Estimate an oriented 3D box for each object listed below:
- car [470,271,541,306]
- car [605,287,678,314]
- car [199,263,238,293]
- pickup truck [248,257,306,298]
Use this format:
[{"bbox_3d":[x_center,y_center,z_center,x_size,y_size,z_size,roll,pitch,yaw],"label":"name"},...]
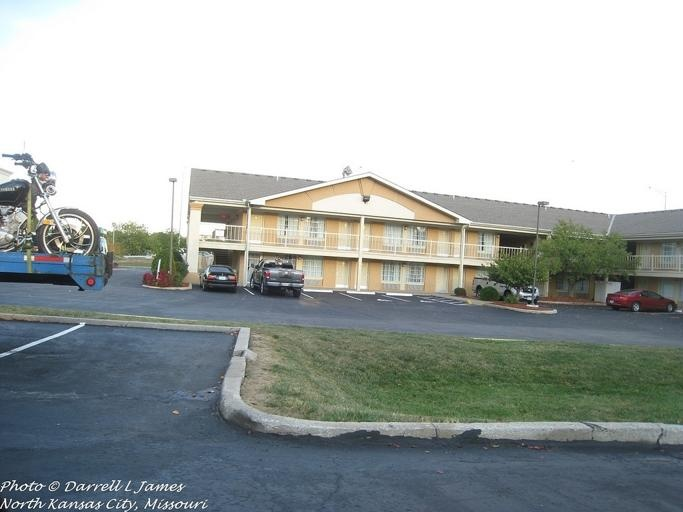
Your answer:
[{"bbox_3d":[9.600,1.987,37.388,1.959,1.298,3.307,3,1,-34],"label":"car"},{"bbox_3d":[17.110,2.591,36.583,3.247,0.977,1.568,-1,2,-13],"label":"car"},{"bbox_3d":[-6.305,1.209,32.854,1.226,0.846,2.761,1,4,-15],"label":"car"},{"bbox_3d":[-3.421,1.166,32.759,1.466,1.120,3.190,3,4,-18],"label":"pickup truck"}]
